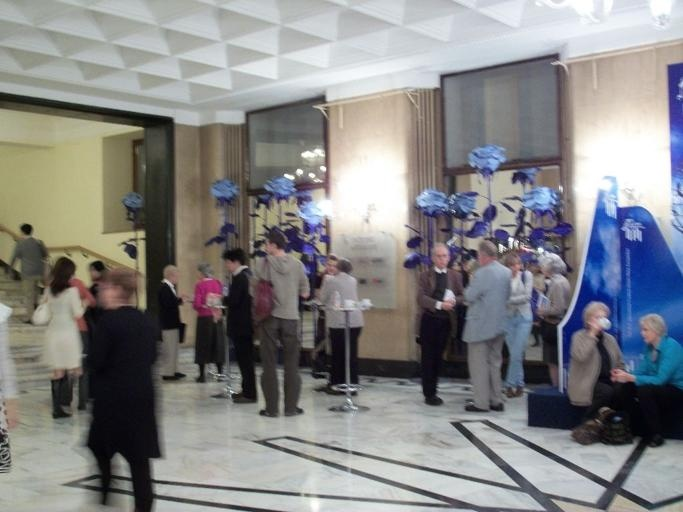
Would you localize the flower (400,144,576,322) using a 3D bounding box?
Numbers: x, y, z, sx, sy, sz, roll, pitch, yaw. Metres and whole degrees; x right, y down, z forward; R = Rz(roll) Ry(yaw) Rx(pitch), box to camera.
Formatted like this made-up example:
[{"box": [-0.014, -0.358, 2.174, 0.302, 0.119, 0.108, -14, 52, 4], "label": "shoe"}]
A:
[{"box": [2.229, -0.530, 8.414, 1.949, 1.964, 0.799, -8, 16, 18], "label": "flower"}]
